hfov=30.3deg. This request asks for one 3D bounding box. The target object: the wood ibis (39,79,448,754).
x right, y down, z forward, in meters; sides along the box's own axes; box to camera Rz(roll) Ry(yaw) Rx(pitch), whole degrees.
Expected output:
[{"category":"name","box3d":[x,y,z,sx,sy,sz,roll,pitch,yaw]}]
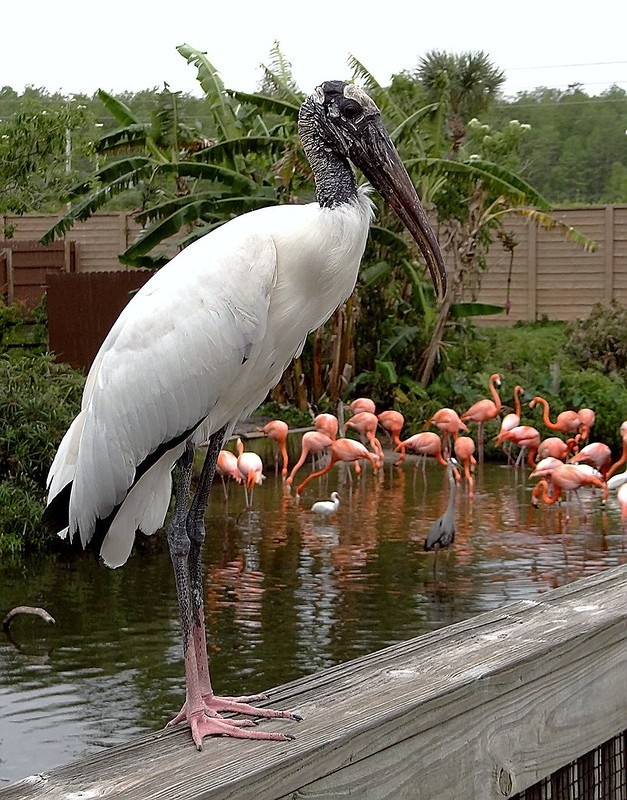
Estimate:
[{"category":"wood ibis","box3d":[-0.146,-0.085,3.103,0.938,1.622,1.126,-3,5,-29]}]
